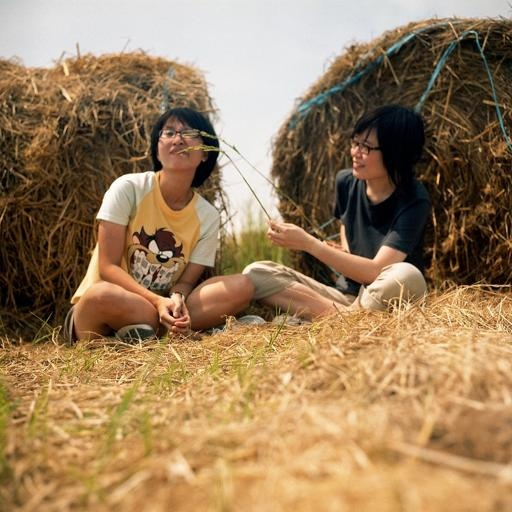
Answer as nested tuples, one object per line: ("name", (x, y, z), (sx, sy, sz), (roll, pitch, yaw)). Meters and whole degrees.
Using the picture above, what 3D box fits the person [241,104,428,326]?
("person", (0.436, -0.213, 2.447), (0.789, 1.036, 0.919), (4, 3, -2))

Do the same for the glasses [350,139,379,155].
("glasses", (0.486, -0.496, 2.326), (0.060, 0.083, 0.161), (-8, 7, -25))

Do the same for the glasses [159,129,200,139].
("glasses", (-0.336, -0.535, 2.253), (0.175, 0.052, 0.074), (-6, 6, -5))

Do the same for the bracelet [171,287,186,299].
("bracelet", (-0.346, 0.162, 2.277), (0.045, 0.044, 0.032), (11, -18, -13))

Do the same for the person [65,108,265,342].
("person", (-0.412, -0.145, 2.371), (0.765, 1.098, 0.708), (6, -8, -18))

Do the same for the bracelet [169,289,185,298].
("bracelet", (-0.347, 0.172, 2.271), (0.069, 0.032, 0.132), (-6, 6, -9))
